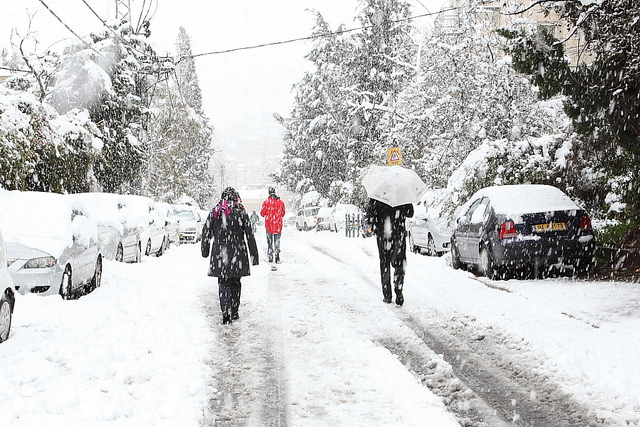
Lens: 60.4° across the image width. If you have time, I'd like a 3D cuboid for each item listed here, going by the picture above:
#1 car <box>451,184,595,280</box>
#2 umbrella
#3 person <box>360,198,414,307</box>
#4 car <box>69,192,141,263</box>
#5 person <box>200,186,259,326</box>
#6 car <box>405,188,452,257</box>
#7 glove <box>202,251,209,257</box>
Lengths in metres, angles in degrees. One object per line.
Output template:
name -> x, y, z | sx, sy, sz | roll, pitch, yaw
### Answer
car -> 4.520, 0.269, 13.459 | 1.720, 1.611, 3.321 | -2, 5, -6
umbrella -> 1.519, -0.548, 11.311 | 1.230, 0.756, 0.941 | -1, 10, 5
person -> 1.456, 0.732, 11.353 | 0.878, 2.101, 0.907 | 2, 10, 20
car -> -6.349, 0.370, 16.376 | 1.381, 1.415, 2.602 | 0, -4, -1
person -> -1.717, 0.770, 10.411 | 1.007, 2.482, 0.872 | -8, 11, -37
car -> 3.675, 0.384, 18.542 | 1.107, 1.221, 2.506 | -1, -2, -5
glove -> -2.147, 0.769, 10.295 | 0.123, 0.108, 0.129 | 0, -5, -29
